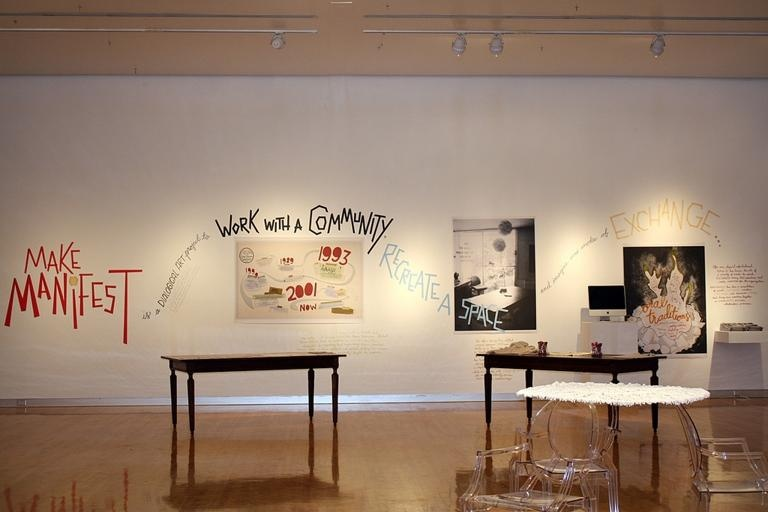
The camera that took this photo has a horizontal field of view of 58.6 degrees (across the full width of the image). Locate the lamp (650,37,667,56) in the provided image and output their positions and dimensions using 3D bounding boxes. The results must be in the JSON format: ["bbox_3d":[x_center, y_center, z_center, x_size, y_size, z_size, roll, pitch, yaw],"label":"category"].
[{"bbox_3d":[4.274,-3.285,10.691,0.188,0.353,0.251,-1,-4,27],"label":"lamp"}]

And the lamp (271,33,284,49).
[{"bbox_3d":[-1.663,-3.342,10.536,0.171,0.263,0.209,1,-4,-11],"label":"lamp"}]

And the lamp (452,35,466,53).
[{"bbox_3d":[1.171,-3.334,10.759,0.192,0.352,0.310,0,-4,9],"label":"lamp"}]

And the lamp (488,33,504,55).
[{"bbox_3d":[1.756,-3.318,10.730,0.281,0.367,0.129,0,0,8],"label":"lamp"}]

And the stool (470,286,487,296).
[{"bbox_3d":[1.635,0.604,11.971,0.173,0.205,0.173,-3,-4,37],"label":"stool"}]
